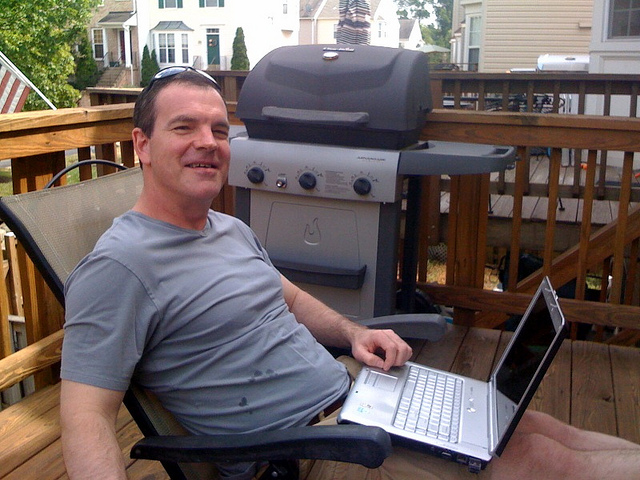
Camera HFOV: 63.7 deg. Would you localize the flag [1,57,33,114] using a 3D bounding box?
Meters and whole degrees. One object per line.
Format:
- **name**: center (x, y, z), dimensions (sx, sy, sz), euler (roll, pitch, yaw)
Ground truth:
- **flag**: center (-6.326, -3.181, 10.667), dimensions (0.565, 1.080, 1.105), euler (-5, 12, -29)
